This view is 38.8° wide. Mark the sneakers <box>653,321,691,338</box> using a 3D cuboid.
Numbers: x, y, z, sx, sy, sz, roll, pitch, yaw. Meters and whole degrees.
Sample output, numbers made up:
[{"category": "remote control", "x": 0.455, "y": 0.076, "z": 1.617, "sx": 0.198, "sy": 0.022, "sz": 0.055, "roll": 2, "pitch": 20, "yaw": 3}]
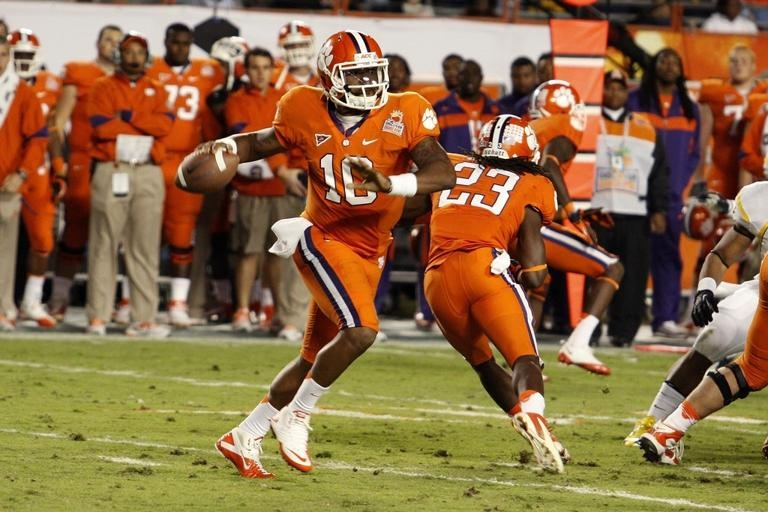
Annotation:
[{"category": "sneakers", "x": 2.754, "y": 0.701, "z": 10.563, "sx": 0.403, "sy": 0.163, "sz": 0.147, "roll": 0, "pitch": 3, "yaw": 22}]

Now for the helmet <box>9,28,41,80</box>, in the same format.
[{"category": "helmet", "x": -2.767, "y": -1.572, "z": 8.412, "sx": 0.308, "sy": 0.409, "sz": 0.161, "roll": -4, "pitch": -3, "yaw": -32}]

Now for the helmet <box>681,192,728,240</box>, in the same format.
[{"category": "helmet", "x": 2.976, "y": -0.373, "z": 10.189, "sx": 0.382, "sy": 0.375, "sz": 0.536, "roll": 13, "pitch": 4, "yaw": 29}]

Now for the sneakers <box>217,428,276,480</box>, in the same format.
[{"category": "sneakers", "x": -0.804, "y": 1.149, "z": 6.308, "sx": 0.323, "sy": 0.222, "sz": 0.106, "roll": 38, "pitch": 5, "yaw": 2}]

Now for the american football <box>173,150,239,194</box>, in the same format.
[{"category": "american football", "x": -0.993, "y": -0.449, "z": 6.089, "sx": 0.299, "sy": 0.186, "sz": 0.235, "roll": -15, "pitch": -6, "yaw": 23}]

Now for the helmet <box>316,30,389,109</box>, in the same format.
[{"category": "helmet", "x": -0.194, "y": -1.082, "z": 6.246, "sx": 0.383, "sy": 0.385, "sz": 0.481, "roll": -8, "pitch": 22, "yaw": -25}]

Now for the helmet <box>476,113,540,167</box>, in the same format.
[{"category": "helmet", "x": 0.773, "y": -0.752, "z": 6.948, "sx": 0.400, "sy": 0.310, "sz": 0.300, "roll": -22, "pitch": 28, "yaw": -39}]

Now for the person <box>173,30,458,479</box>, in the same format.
[{"category": "person", "x": -0.321, "y": -0.018, "z": 6.261, "sx": 1.399, "sy": 2.549, "sz": 0.679, "roll": 3, "pitch": 8, "yaw": 3}]

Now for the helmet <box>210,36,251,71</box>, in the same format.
[{"category": "helmet", "x": -1.370, "y": -1.886, "z": 9.755, "sx": 0.312, "sy": 0.247, "sz": 0.318, "roll": 11, "pitch": -28, "yaw": -37}]

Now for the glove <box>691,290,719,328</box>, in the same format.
[{"category": "glove", "x": 1.955, "y": 0.297, "z": 6.597, "sx": 0.087, "sy": 0.217, "sz": 0.168, "roll": 25, "pitch": -12, "yaw": -13}]
